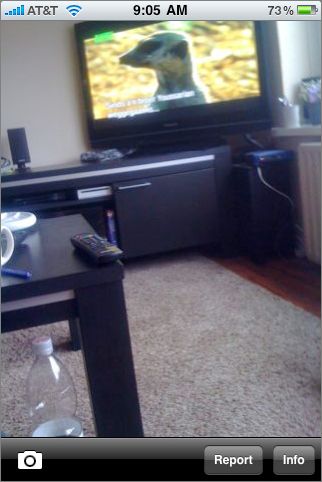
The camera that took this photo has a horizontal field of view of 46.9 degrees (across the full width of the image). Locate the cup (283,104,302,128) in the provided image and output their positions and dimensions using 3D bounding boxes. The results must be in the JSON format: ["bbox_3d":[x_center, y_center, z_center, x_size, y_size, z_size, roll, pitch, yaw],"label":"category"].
[{"bbox_3d":[0.740,-0.710,2.121,0.083,0.125,0.208,-3,13,16],"label":"cup"}]

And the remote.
[{"bbox_3d":[-0.119,-0.002,0.711,0.051,0.036,0.155,-11,21,-26],"label":"remote"}]
